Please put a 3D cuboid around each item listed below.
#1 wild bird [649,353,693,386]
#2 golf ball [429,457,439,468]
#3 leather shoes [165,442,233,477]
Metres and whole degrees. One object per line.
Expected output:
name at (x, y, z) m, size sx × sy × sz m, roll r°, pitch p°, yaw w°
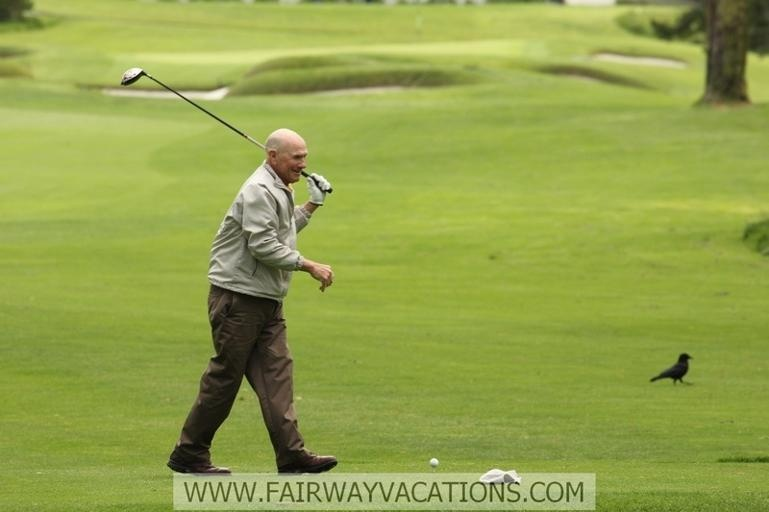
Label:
wild bird at (2.612, 1.021, 16.773) m, size 0.352 × 0.245 × 0.387 m, roll 2°, pitch 16°, yaw 15°
golf ball at (0.416, 1.731, 15.299) m, size 0.089 × 0.057 × 0.079 m, roll -1°, pitch 4°, yaw -8°
leather shoes at (-1.526, 1.643, 14.771) m, size 0.610 × 0.240 × 0.197 m, roll 3°, pitch -3°, yaw -4°
